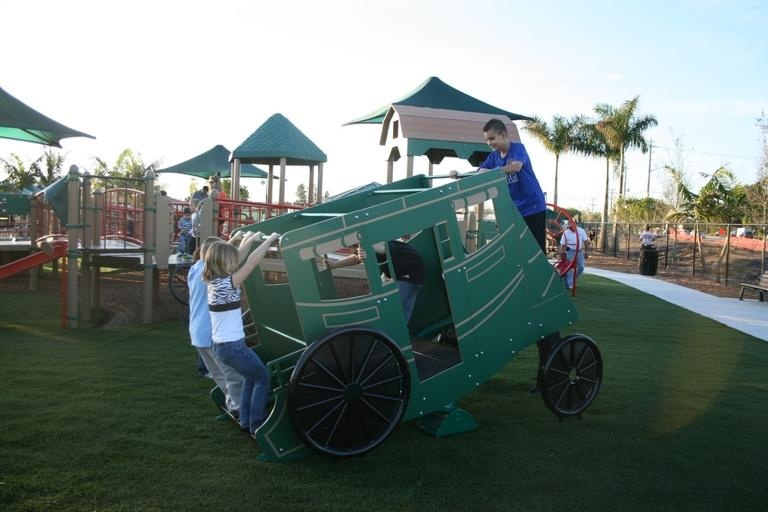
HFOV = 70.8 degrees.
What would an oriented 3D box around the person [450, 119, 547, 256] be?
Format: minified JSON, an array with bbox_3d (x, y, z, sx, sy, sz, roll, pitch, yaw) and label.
[{"bbox_3d":[1.567,-0.887,6.530,0.805,1.506,0.767,4,10,15],"label":"person"}]

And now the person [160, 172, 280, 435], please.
[{"bbox_3d":[-1.571,0.766,5.601,0.692,1.971,1.160,-5,12,-31],"label":"person"}]

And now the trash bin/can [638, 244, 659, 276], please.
[{"bbox_3d":[10.150,0.230,20.731,0.567,0.957,0.605,5,11,18],"label":"trash bin/can"}]
